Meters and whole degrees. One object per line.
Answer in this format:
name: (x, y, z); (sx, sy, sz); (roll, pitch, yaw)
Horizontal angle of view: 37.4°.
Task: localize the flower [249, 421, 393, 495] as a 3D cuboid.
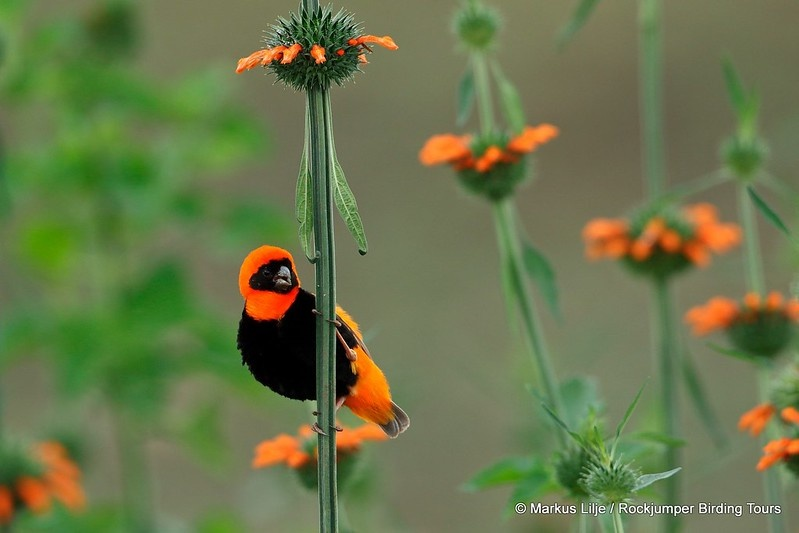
flower: (-0.216, 0.467, 3.085); (0.234, 0.116, 0.232); (-1, -8, -31)
